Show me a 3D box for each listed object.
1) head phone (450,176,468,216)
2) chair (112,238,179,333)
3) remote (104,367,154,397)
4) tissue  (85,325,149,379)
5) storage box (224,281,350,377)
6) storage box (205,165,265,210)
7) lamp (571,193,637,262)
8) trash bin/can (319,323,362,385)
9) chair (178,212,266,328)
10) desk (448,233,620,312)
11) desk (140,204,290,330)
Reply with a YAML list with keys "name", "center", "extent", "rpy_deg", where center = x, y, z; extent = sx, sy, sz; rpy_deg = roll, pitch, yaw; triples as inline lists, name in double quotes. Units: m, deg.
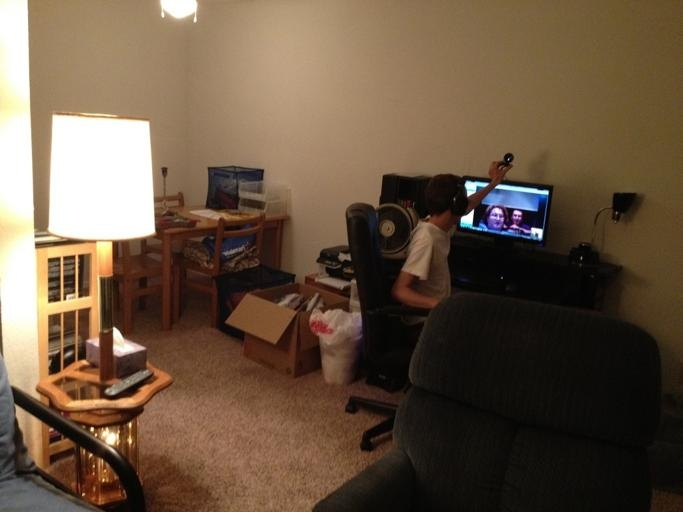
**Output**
- name: "head phone"
  center: [0.633, -0.317, 2.824]
  extent: [0.090, 0.201, 0.180]
  rpy_deg: [6, 14, 12]
- name: "chair"
  center: [-1.489, 0.248, 4.037]
  extent: [0.377, 0.731, 0.401]
  rpy_deg: [-9, 25, -28]
- name: "remote"
  center: [-0.904, 0.527, 2.242]
  extent: [0.068, 0.049, 0.199]
  rpy_deg: [15, 23, 22]
- name: "tissue "
  center: [-1.015, 0.447, 2.378]
  extent: [0.248, 0.124, 0.138]
  rpy_deg: [16, 16, 30]
- name: "storage box"
  center: [-0.338, 0.509, 3.709]
  extent: [0.747, 0.464, 0.774]
  rpy_deg: [-6, 13, -41]
- name: "storage box"
  center: [-0.985, -0.646, 4.863]
  extent: [0.367, 0.515, 0.490]
  rpy_deg: [-7, 16, -41]
- name: "lamp"
  center: [1.587, -0.188, 3.295]
  extent: [0.365, 0.442, 0.248]
  rpy_deg: [-3, 15, -27]
- name: "trash bin/can"
  center: [0.028, 0.616, 3.463]
  extent: [0.317, 0.379, 0.322]
  rpy_deg: [3, 8, 7]
- name: "chair"
  center: [-0.985, 0.041, 4.280]
  extent: [0.625, 0.945, 0.673]
  rpy_deg: [-2, 17, -28]
- name: "desk"
  center: [1.130, 0.237, 3.445]
  extent: [1.030, 0.301, 0.435]
  rpy_deg: [11, 47, 20]
- name: "desk"
  center: [-1.266, 0.019, 4.374]
  extent: [0.740, 0.701, 0.927]
  rpy_deg: [-21, 13, -18]
